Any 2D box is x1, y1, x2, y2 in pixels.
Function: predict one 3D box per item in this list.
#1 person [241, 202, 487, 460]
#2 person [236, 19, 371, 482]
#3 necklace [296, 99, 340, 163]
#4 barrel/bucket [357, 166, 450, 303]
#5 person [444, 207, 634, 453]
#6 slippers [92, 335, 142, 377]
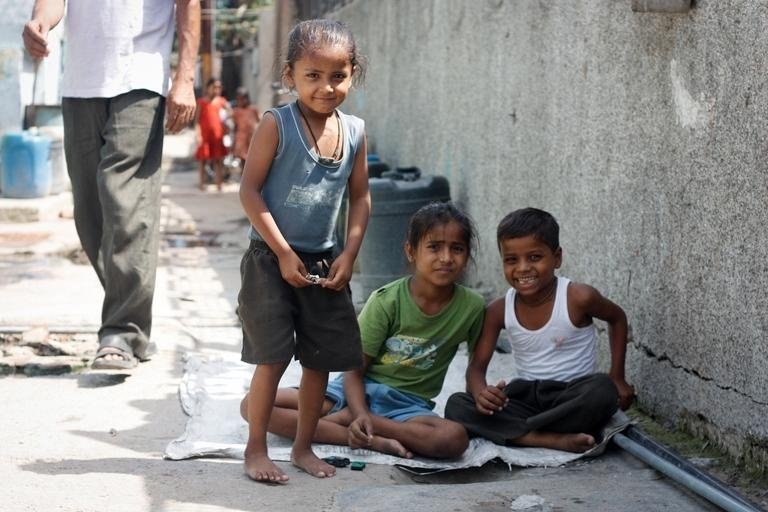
[{"bbox_3d":[0.082,0.328,4.839,1.098,1.173,0.827,12,9,0],"label":"person"},{"bbox_3d":[-0.336,-0.037,4.492,0.591,2.038,0.484,0,8,-7],"label":"person"},{"bbox_3d":[-0.273,-0.581,4.494,0.161,0.309,0.075,-17,-7,-27],"label":"necklace"},{"bbox_3d":[0.074,-0.202,7.765,0.831,1.378,0.915,0,7,1],"label":"barrel/bucket"},{"bbox_3d":[0.801,0.392,4.963,1.030,1.345,0.780,-6,-10,32],"label":"person"},{"bbox_3d":[-1.392,0.503,5.288,0.225,0.172,0.192,-1,8,-15],"label":"slippers"}]
